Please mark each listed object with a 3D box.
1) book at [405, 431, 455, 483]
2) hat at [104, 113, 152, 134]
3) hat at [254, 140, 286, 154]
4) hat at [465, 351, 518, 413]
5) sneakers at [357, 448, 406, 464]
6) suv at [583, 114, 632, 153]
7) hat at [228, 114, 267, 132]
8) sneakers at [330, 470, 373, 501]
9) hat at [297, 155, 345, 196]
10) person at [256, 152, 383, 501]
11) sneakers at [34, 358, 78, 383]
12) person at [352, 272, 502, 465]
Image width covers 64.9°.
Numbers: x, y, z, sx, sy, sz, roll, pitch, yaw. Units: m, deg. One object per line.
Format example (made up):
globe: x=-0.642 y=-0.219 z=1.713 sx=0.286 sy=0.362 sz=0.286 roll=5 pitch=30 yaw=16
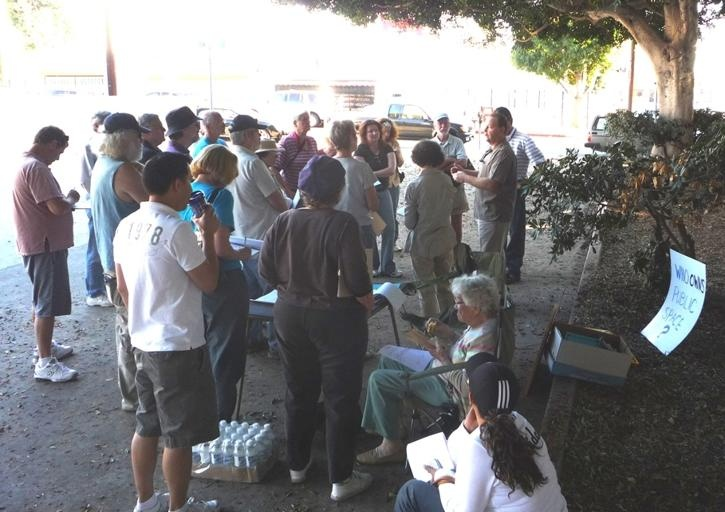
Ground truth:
book: x=0.441 y=1.312 z=3.749 sx=0.271 sy=0.071 sz=0.293 roll=-20 pitch=56 yaw=9
hat: x=-2.061 y=-1.140 z=4.999 sx=0.278 sy=0.182 sz=0.187 roll=-21 pitch=22 yaw=-24
hat: x=-1.168 y=-1.382 z=7.213 sx=0.295 sy=0.131 sz=0.296 roll=-2 pitch=10 yaw=-6
hat: x=0.737 y=0.746 z=3.401 sx=0.262 sy=0.221 sz=0.422 roll=-4 pitch=44 yaw=-5
sneakers: x=0.164 y=1.601 z=4.568 sx=0.368 sy=0.137 sz=0.148 roll=1 pitch=1 yaw=-2
suv: x=8.340 y=-4.294 z=20.222 sx=0.822 sy=1.550 sz=7.820 roll=6 pitch=16 yaw=20
hat: x=-1.115 y=-1.359 z=5.832 sx=0.390 sy=0.158 sz=0.252 roll=-13 pitch=21 yaw=-33
sneakers: x=-0.073 y=1.739 z=4.375 sx=0.372 sy=0.190 sz=0.135 roll=-17 pitch=18 yaw=-41
hat: x=-0.287 y=-0.566 z=4.121 sx=0.315 sy=0.287 sz=0.191 roll=0 pitch=14 yaw=-4
person: x=-0.317 y=0.737 z=4.203 sx=0.782 sy=2.126 sz=0.412 roll=1 pitch=14 yaw=2
sneakers: x=-2.983 y=1.132 z=5.673 sx=0.418 sy=0.224 sz=0.204 roll=6 pitch=17 yaw=-7
person: x=0.598 y=0.740 z=5.520 sx=1.393 sy=2.562 sz=1.040 roll=6 pitch=7 yaw=16
